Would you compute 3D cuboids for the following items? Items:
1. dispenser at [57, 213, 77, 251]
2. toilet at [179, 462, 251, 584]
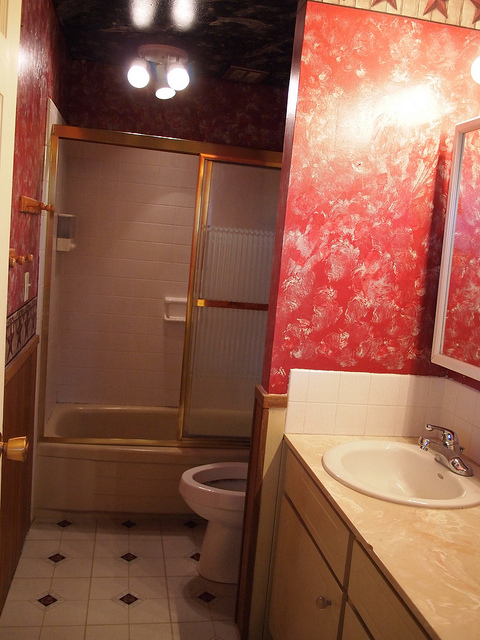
[{"bbox_3d":[-0.949,-0.481,2.654,0.070,0.204,0.235,4,3,-13],"label":"dispenser"},{"bbox_3d":[-0.074,0.876,2.115,0.415,0.385,0.369,9,1,0],"label":"toilet"}]
